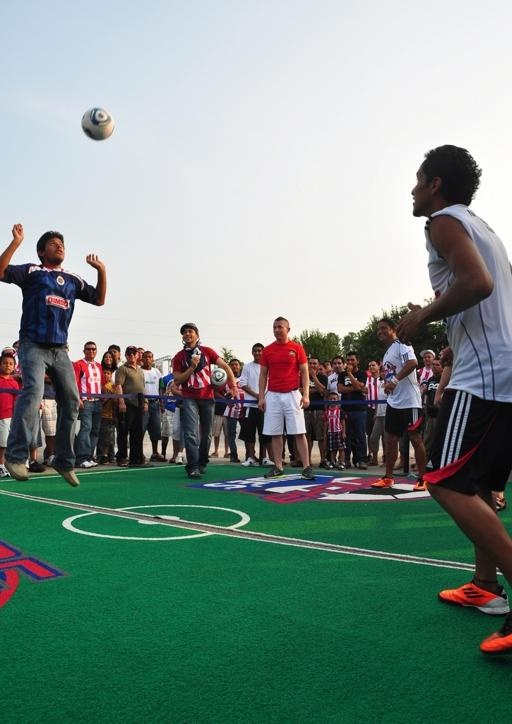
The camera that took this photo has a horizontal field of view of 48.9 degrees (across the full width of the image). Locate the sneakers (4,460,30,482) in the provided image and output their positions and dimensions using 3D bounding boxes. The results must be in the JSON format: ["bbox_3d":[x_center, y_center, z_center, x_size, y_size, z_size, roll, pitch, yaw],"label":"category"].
[{"bbox_3d":[-1.908,0.861,4.498,0.099,0.091,0.259,7,-1,-42],"label":"sneakers"}]

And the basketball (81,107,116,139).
[{"bbox_3d":[-1.479,-2.221,5.256,0.265,0.298,0.217,-1,-6,-16],"label":"basketball"}]

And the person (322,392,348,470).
[{"bbox_3d":[1.311,1.135,9.486,0.362,1.253,0.898,-4,-6,7],"label":"person"}]

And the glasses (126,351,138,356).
[{"bbox_3d":[-2.046,-0.158,9.301,0.135,0.078,0.195,6,7,-9],"label":"glasses"}]

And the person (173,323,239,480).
[{"bbox_3d":[-0.774,0.478,7.438,0.643,1.995,1.190,-4,-6,12],"label":"person"}]

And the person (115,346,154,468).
[{"bbox_3d":[-2.028,0.691,9.136,0.490,1.912,1.010,-2,-6,-12],"label":"person"}]

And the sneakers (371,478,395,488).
[{"bbox_3d":[1.394,1.312,6.180,0.229,0.105,0.223,-3,-5,5],"label":"sneakers"}]

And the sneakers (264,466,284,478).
[{"bbox_3d":[0.216,1.336,6.873,0.197,0.139,0.225,-3,-5,11],"label":"sneakers"}]

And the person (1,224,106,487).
[{"bbox_3d":[-1.756,0.021,4.736,0.612,2.099,0.965,-7,-7,36],"label":"person"}]

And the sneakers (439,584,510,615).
[{"bbox_3d":[0.858,0.911,2.229,0.272,0.105,0.098,4,-16,24],"label":"sneakers"}]
